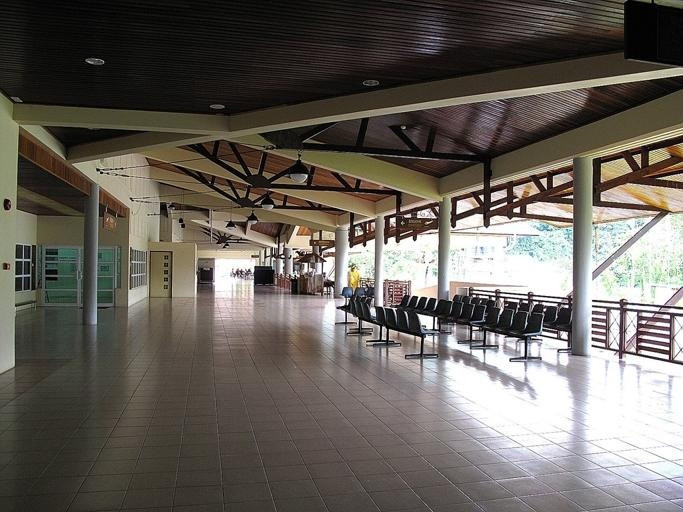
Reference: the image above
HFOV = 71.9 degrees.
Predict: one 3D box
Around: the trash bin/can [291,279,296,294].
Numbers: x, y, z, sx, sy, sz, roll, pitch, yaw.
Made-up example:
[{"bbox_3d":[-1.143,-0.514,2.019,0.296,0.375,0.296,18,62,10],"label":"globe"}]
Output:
[{"bbox_3d":[-2.980,1.820,29.583,0.378,0.781,0.655,1,0,-7],"label":"trash bin/can"}]
